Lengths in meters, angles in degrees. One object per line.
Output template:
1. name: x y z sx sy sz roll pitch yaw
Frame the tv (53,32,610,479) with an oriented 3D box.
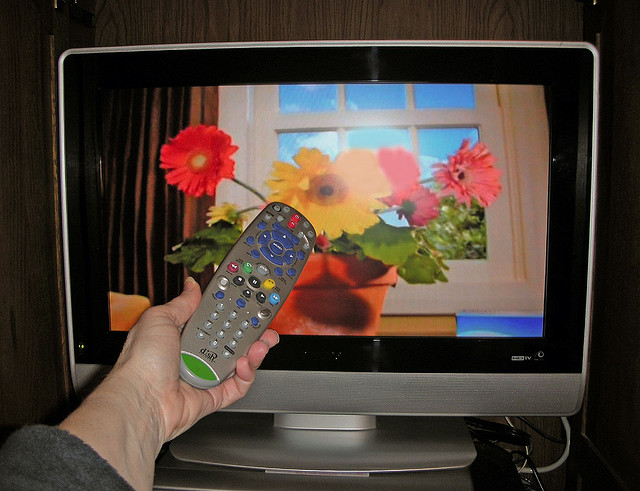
1. tv: 0.010 0.008 0.951 0.719 0.220 0.574 1 89 1

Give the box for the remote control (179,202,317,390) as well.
1. remote control: -0.116 0.074 0.899 0.110 0.052 0.303 31 85 4
